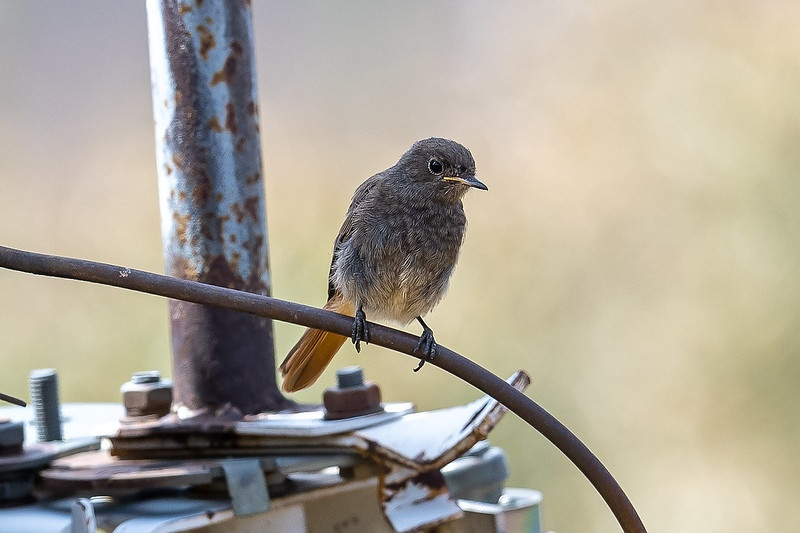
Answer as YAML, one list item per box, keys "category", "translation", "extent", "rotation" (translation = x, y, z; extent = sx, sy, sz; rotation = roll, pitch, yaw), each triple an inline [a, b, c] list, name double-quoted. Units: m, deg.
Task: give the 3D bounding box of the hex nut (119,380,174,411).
- category: "hex nut"
  translation: [-0.751, 0.364, 2.956]
  extent: [0.100, 0.066, 0.093]
  rotation: [2, 0, 39]
